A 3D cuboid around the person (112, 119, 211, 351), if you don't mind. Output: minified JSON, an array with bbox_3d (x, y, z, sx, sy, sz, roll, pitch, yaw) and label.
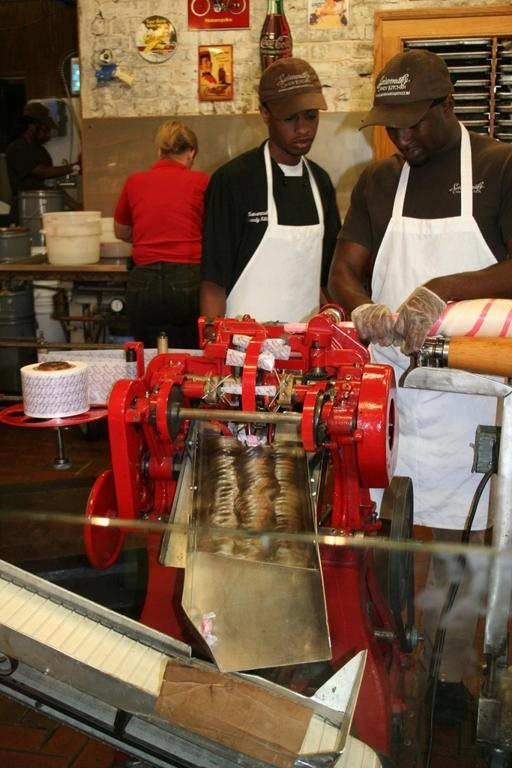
[{"bbox_3d":[-0.514,-0.819,3.515,0.703,1.289,0.380,7,14,29],"label":"person"}]

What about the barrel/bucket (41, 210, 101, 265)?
[{"bbox_3d":[-1.183,-0.972,4.089,0.370,0.294,0.388,1,20,0],"label":"barrel/bucket"}]

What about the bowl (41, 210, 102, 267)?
[{"bbox_3d":[-1.179,-0.945,4.106,0.397,0.299,0.376,2,17,-1],"label":"bowl"}]

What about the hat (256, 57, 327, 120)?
[{"bbox_3d":[0.126,-1.098,2.332,0.200,0.143,0.275,-12,39,-11],"label":"hat"}]

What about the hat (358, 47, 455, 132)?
[{"bbox_3d":[0.453,-0.821,1.790,0.190,0.155,0.287,18,56,44],"label":"hat"}]
